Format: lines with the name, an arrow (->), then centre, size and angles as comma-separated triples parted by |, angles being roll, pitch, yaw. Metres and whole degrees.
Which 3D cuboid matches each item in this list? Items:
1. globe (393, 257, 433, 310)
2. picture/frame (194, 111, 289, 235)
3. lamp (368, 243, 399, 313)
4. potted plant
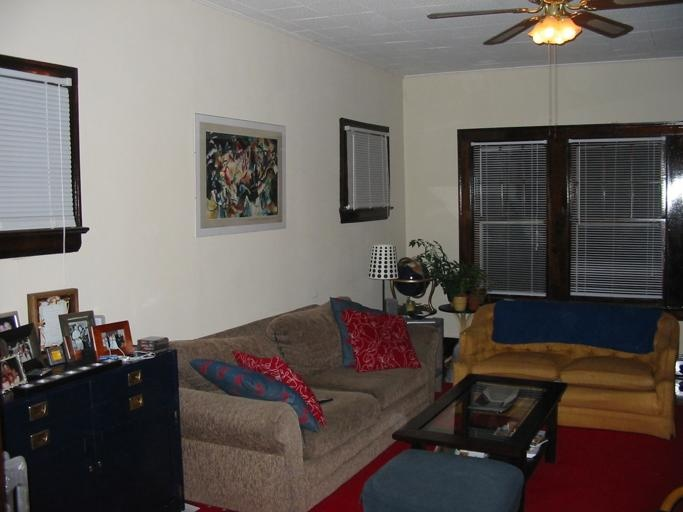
globe -> 0.836, 0.310, 5.849 | 0.454, 0.536, 0.302 | 8, 6, 22
picture/frame -> -0.865, -0.689, 4.119 | 0.050, 0.940, 1.228 | 1, 3, 33
lamp -> 0.449, 0.224, 5.456 | 0.339, 0.718, 0.316 | 7, 6, 28
potted plant -> 1.422, 0.157, 6.241 | 1.019, 0.853, 0.657 | 7, 6, 34
